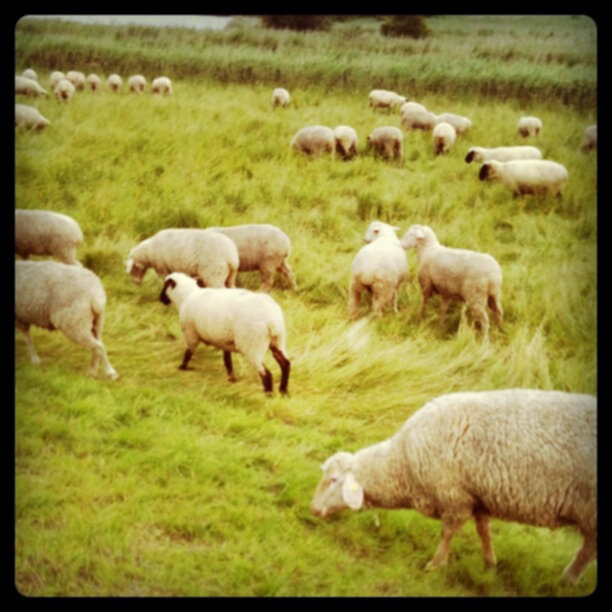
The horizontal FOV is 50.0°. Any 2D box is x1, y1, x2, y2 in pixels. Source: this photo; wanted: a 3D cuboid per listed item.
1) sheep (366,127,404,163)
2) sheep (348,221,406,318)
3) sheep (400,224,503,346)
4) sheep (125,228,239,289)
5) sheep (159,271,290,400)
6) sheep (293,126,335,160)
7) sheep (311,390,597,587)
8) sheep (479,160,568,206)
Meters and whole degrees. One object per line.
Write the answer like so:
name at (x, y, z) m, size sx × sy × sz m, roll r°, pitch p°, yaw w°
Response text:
sheep at (0.570, -1.167, 4.705) m, size 0.155 × 0.254 × 0.328 m, roll -17°, pitch 36°, yaw -36°
sheep at (0.538, -0.224, 4.647) m, size 0.339 × 0.695 × 0.780 m, roll 1°, pitch 11°, yaw 17°
sheep at (0.972, -0.188, 4.499) m, size 0.333 × 0.658 × 0.795 m, roll -17°, pitch 26°, yaw -42°
sheep at (-0.831, -0.347, 4.713) m, size 0.772 × 0.514 × 0.372 m, roll 4°, pitch 3°, yaw 8°
sheep at (-0.517, 0.171, 4.169) m, size 0.875 × 0.643 × 0.339 m, roll 15°, pitch 16°, yaw 34°
sheep at (0.060, -1.166, 4.658) m, size 0.324 × 0.246 × 0.159 m, roll 14°, pitch 30°, yaw 21°
sheep at (0.903, 0.965, 3.551) m, size 1.597 × 0.974 × 0.535 m, roll -3°, pitch 4°, yaw 27°
sheep at (1.475, -0.863, 4.547) m, size 0.606 × 0.366 × 0.209 m, roll 5°, pitch 13°, yaw 17°
